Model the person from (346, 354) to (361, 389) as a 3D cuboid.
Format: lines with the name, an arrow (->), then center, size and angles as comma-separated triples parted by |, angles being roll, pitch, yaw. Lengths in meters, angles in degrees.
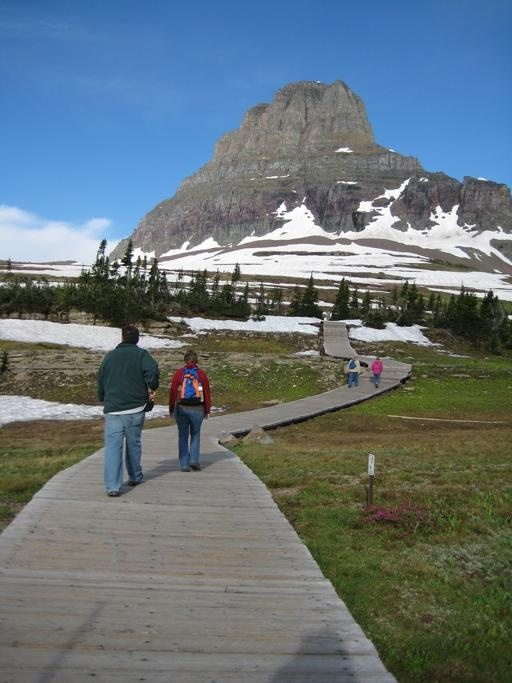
person -> 4.530, 1.457, 32.113 | 0.588, 1.272, 1.976 | 9, 2, 8

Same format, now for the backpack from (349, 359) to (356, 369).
backpack -> 4.400, 1.063, 31.420 | 0.302, 0.378, 0.564 | 7, 2, -10
